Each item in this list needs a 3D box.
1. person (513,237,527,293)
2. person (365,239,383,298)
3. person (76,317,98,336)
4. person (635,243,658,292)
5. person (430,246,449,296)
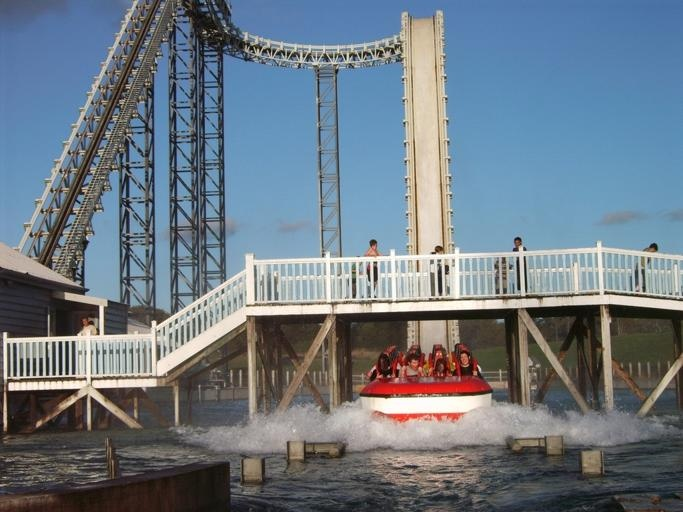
[{"bbox_3d":[4.987,0.328,37.818,0.399,1.673,0.506,4,-1,-30],"label":"person"},{"bbox_3d":[0.873,0.341,38.102,0.539,1.648,0.382,0,1,-35],"label":"person"},{"bbox_3d":[-7.960,2.224,41.561,0.577,0.776,0.406,-3,-10,5],"label":"person"},{"bbox_3d":[8.762,0.267,37.889,0.420,1.373,1.322,2,27,11],"label":"person"},{"bbox_3d":[2.835,0.561,38.292,0.574,1.341,1.929,-3,-9,3],"label":"person"}]
